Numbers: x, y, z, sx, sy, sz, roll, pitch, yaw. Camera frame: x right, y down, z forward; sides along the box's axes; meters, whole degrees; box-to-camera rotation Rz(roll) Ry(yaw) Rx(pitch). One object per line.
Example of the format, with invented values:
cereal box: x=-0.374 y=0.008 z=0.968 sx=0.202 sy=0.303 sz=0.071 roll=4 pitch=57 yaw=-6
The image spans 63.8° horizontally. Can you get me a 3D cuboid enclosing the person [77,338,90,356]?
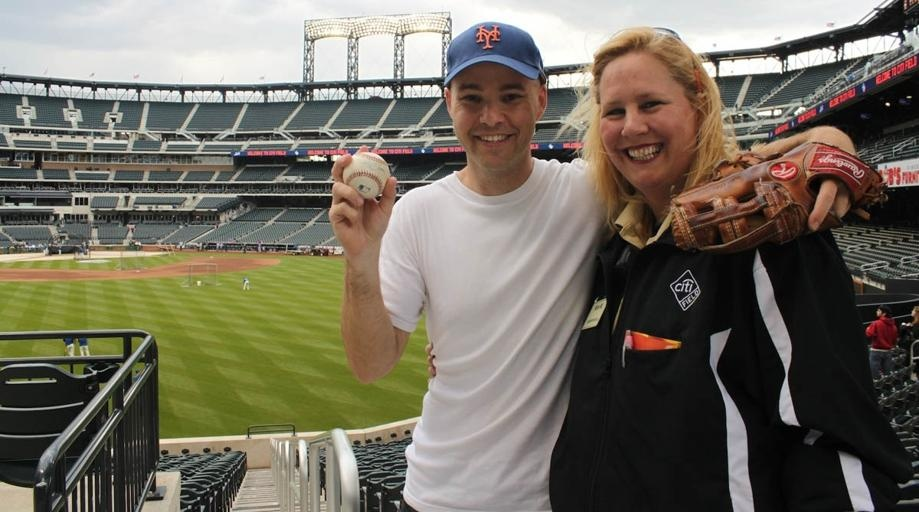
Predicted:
person: x=-10.785 y=2.580 z=21.253 sx=0.300 sy=0.447 sz=1.173 roll=-3 pitch=0 yaw=-27

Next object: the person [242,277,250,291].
person: x=-10.140 y=1.342 z=35.144 sx=0.291 sy=0.222 sz=0.790 roll=6 pitch=14 yaw=-10
